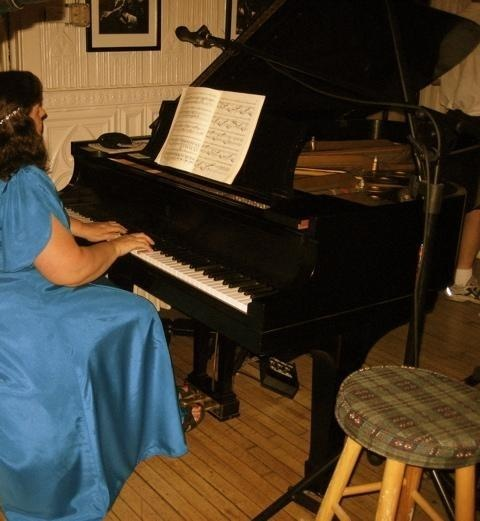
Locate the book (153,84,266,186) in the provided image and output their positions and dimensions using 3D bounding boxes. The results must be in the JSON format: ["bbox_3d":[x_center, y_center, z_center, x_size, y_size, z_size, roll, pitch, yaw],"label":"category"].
[{"bbox_3d":[-0.033,-0.425,1.795,0.481,0.384,0.099,19,2,44],"label":"book"}]

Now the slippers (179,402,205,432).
[{"bbox_3d":[-0.214,0.697,2.125,0.132,0.115,0.031,1,-8,39],"label":"slippers"}]
